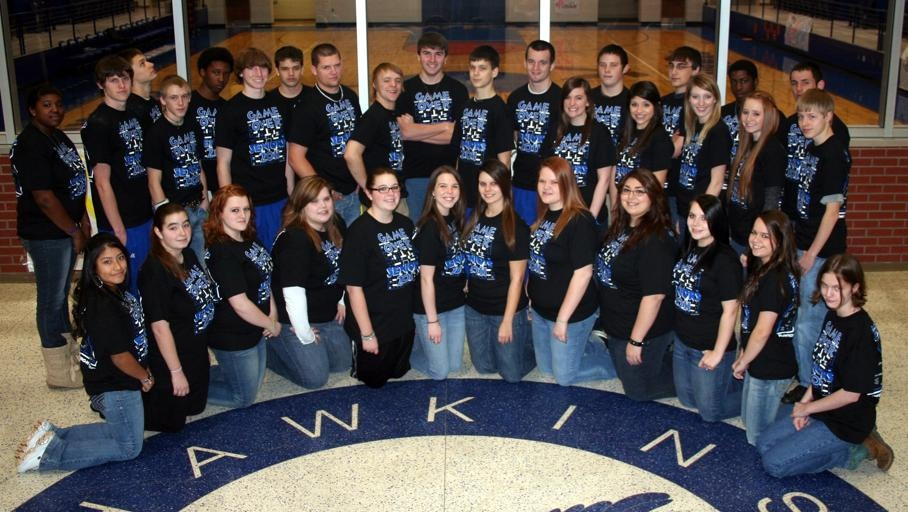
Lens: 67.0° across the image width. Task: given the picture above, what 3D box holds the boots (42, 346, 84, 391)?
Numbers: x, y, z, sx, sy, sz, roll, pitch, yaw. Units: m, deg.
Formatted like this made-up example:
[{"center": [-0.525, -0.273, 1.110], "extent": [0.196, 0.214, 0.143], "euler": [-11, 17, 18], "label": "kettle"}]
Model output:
[{"center": [-4.595, 1.324, 8.322], "extent": [0.575, 0.502, 0.305], "euler": [3, 13, -12], "label": "boots"}]

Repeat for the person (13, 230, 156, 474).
[{"center": [-3.755, 1.028, 6.978], "extent": [1.205, 2.296, 0.743], "euler": [-9, 24, -24], "label": "person"}]

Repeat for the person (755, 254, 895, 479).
[{"center": [3.795, 1.122, 6.849], "extent": [1.314, 2.155, 0.625], "euler": [-1, 22, -5], "label": "person"}]

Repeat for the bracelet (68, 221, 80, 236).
[{"center": [-4.487, -0.310, 8.109], "extent": [0.088, 0.107, 0.101], "euler": [2, 5, 32], "label": "bracelet"}]

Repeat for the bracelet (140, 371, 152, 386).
[{"center": [-3.186, 1.282, 7.166], "extent": [0.107, 0.128, 0.119], "euler": [-18, 29, -24], "label": "bracelet"}]

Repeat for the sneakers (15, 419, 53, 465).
[{"center": [-4.306, 1.947, 7.042], "extent": [0.291, 0.507, 0.210], "euler": [35, 10, 34], "label": "sneakers"}]
